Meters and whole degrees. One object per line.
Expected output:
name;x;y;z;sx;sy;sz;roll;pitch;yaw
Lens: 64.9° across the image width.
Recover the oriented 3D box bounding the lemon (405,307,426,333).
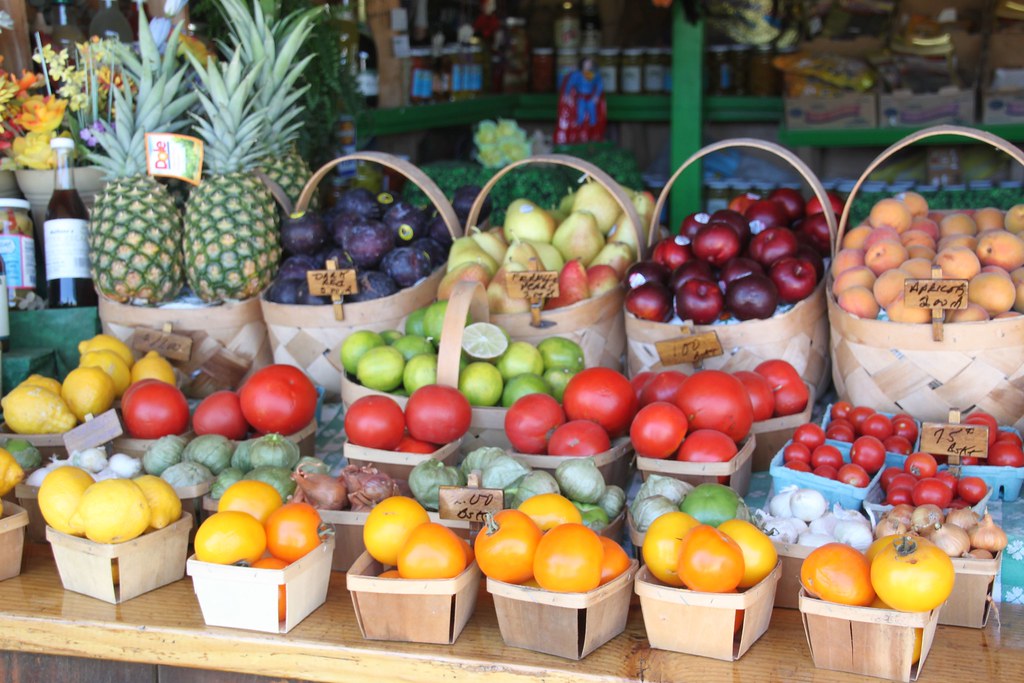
lemon;-0.358;-0.079;2.998;0.081;0.107;0.085;3;3;11

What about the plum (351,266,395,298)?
plum;-0.526;-0.215;3.154;0.137;0.116;0.116;-27;18;41

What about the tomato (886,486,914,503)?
tomato;1.116;0.446;2.321;0.048;0.051;0.048;-4;2;10

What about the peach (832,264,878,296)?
peach;1.213;-0.225;2.856;0.120;0.099;0.092;-18;-6;-1

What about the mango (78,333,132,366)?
mango;-1.485;0.030;2.954;0.111;0.100;0.155;5;-3;32

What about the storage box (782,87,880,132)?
storage box;2.478;-1.792;6.272;0.669;0.271;0.090;0;11;8

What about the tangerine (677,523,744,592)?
tangerine;0.491;0.545;1.966;0.173;0.176;0.085;-1;11;1

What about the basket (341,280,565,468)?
basket;-0.234;0.074;2.802;0.539;0.522;0.558;5;13;17

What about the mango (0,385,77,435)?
mango;-1.561;0.229;2.651;0.231;0.155;0.076;-2;11;-6

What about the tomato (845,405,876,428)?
tomato;1.146;0.242;2.652;0.066;0.073;0.069;-1;3;-43

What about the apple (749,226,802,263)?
apple;0.994;-0.361;3.068;0.143;0.148;0.146;-30;47;-1

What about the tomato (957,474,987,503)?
tomato;1.321;0.426;2.313;0.066;0.073;0.072;4;3;27

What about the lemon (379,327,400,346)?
lemon;-0.450;-0.019;2.970;0.066;0.041;0.050;0;-1;34

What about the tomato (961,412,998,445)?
tomato;1.464;0.266;2.556;0.101;0.110;0.106;2;1;-32

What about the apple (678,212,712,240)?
apple;0.748;-0.484;3.316;0.110;0.140;0.114;15;14;3

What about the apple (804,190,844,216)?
apple;1.353;-0.586;3.462;0.131;0.171;0.138;0;4;6

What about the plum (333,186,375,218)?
plum;-0.671;-0.582;3.450;0.133;0.172;0.143;4;6;12

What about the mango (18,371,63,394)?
mango;-1.603;0.142;2.730;0.098;0.070;0.090;1;5;5

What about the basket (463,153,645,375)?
basket;0.007;-0.318;3.205;0.699;0.917;0.830;3;14;28

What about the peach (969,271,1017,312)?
peach;1.597;-0.159;2.686;0.130;0.136;0.126;0;1;-20

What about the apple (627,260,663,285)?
apple;0.505;-0.252;3.077;0.096;0.120;0.097;-2;-10;30

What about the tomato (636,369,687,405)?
tomato;0.485;0.148;2.608;0.109;0.116;0.120;-18;16;-22

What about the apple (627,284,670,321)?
apple;0.498;-0.145;2.955;0.127;0.141;0.139;2;7;14

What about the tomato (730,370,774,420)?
tomato;0.799;0.171;2.628;0.134;0.174;0.143;-4;2;3

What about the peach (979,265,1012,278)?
peach;1.658;-0.245;2.757;0.061;0.065;0.063;0;3;-6

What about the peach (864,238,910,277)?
peach;1.326;-0.301;2.862;0.119;0.123;0.122;-33;33;23

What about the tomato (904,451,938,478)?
tomato;1.207;0.366;2.381;0.068;0.074;0.072;21;-3;15

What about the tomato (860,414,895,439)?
tomato;1.176;0.276;2.596;0.088;0.076;0.075;-39;17;45

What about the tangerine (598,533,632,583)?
tangerine;0.254;0.547;2.040;0.090;0.117;0.093;0;8;5

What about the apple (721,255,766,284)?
apple;0.846;-0.269;2.982;0.107;0.120;0.116;4;6;17

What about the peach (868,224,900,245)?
peach;1.352;-0.386;2.955;0.082;0.111;0.091;1;0;5

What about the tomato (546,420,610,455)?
tomato;0.197;0.296;2.396;0.111;0.122;0.120;-6;-8;37

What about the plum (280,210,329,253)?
plum;-0.872;-0.408;3.338;0.188;0.194;0.190;-2;-4;-18

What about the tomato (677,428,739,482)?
tomato;0.572;0.316;2.368;0.140;0.157;0.157;1;8;12

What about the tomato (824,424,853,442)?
tomato;1.052;0.290;2.572;0.059;0.063;0.059;3;7;21

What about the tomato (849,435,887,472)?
tomato;1.092;0.349;2.514;0.092;0.105;0.102;3;3;-16

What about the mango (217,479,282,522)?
mango;-0.746;0.438;2.273;0.134;0.154;0.151;-2;9;7

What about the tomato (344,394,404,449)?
tomato;-0.415;0.250;2.480;0.154;0.162;0.158;-16;42;-4

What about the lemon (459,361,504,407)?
lemon;-0.104;0.143;2.735;0.130;0.158;0.133;-4;35;1

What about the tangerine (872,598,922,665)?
tangerine;0.910;0.685;1.904;0.102;0.136;0.105;6;40;39

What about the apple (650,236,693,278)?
apple;0.627;-0.332;3.177;0.143;0.157;0.146;1;-3;4

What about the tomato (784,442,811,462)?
tomato;0.877;0.345;2.480;0.057;0.072;0.059;3;3;14

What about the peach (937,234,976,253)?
peach;1.622;-0.359;2.927;0.101;0.056;0.096;-5;5;-37

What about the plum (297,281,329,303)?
plum;-0.761;-0.183;3.100;0.093;0.100;0.113;-14;6;-13

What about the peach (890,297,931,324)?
peach;1.320;-0.101;2.683;0.090;0.053;0.093;0;1;1

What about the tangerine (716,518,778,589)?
tangerine;0.579;0.539;2.096;0.151;0.147;0.149;-6;-23;-12

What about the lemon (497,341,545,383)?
lemon;0.023;0.062;2.757;0.130;0.139;0.129;0;5;2

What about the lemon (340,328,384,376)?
lemon;-0.542;0.036;2.911;0.141;0.173;0.139;6;-4;-27

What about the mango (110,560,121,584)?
mango;-1.093;0.634;2.216;0.017;0.055;0.053;-3;15;-3

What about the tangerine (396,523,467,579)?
tangerine;-0.203;0.542;2.103;0.137;0.137;0.139;2;-6;-5

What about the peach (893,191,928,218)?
peach;1.596;-0.546;3.199;0.119;0.130;0.120;-1;0;3

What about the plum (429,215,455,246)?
plum;-0.298;-0.473;3.510;0.119;0.155;0.128;-5;-2;0

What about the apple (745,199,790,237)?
apple;1.019;-0.515;3.288;0.151;0.191;0.154;5;22;-5
